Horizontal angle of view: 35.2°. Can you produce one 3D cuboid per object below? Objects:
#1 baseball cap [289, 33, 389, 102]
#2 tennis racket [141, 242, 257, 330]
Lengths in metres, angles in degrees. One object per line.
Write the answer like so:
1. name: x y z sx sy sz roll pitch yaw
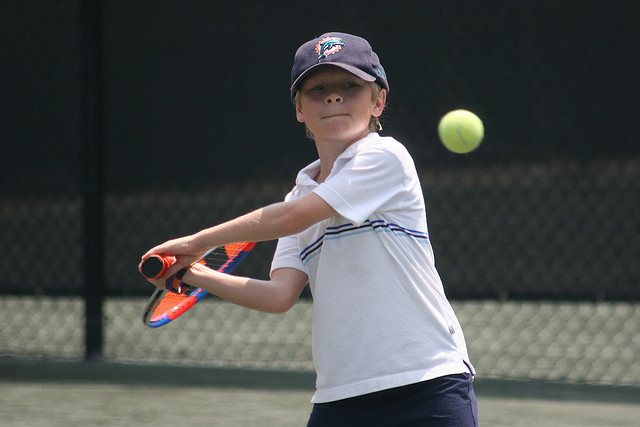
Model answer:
1. baseball cap: 0.094 -0.778 5.176 0.493 0.269 0.231 -1 -27 1
2. tennis racket: -0.714 0.386 5.440 0.435 0.632 0.510 -5 2 -43
